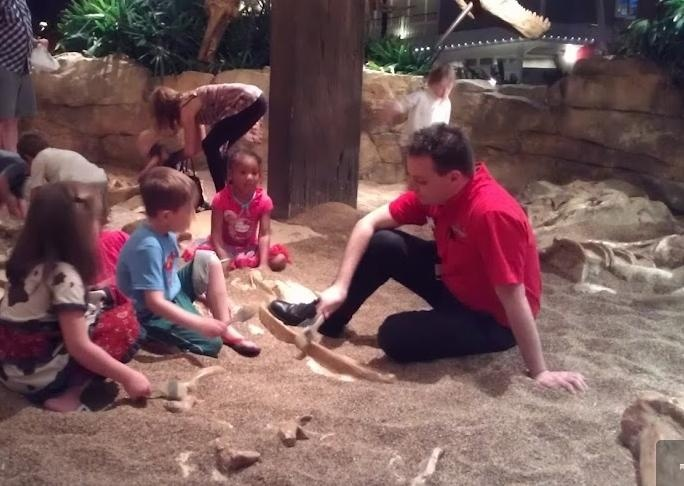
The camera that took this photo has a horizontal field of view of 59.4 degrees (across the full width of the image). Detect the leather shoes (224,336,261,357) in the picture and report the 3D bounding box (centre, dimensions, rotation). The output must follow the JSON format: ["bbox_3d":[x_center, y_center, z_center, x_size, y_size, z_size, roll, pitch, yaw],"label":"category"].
[{"bbox_3d":[-0.556,0.594,3.302,0.181,0.078,0.096,21,-17,-9],"label":"leather shoes"}]

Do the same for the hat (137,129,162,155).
[{"bbox_3d":[-2.448,-1.279,7.577,0.275,0.358,0.124,2,-7,29],"label":"hat"}]

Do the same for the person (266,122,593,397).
[{"bbox_3d":[0.613,0.004,3.669,1.964,1.437,1.141,11,18,31],"label":"person"}]

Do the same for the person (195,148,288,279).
[{"bbox_3d":[-0.796,-0.264,4.782,0.738,0.962,0.654,4,9,-7],"label":"person"}]
